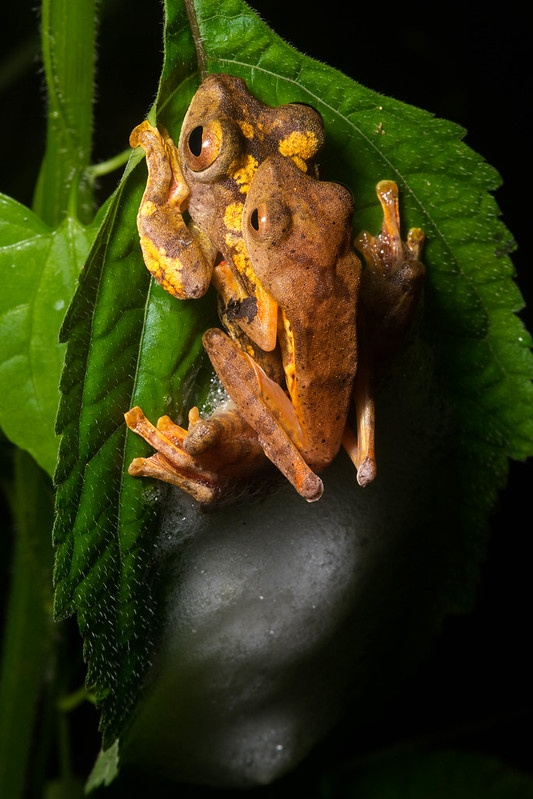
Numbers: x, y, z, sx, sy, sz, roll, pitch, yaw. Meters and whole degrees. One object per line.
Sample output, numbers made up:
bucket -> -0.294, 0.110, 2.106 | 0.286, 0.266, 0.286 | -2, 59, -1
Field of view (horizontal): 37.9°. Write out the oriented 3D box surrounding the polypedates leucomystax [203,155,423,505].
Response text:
polypedates leucomystax -> 0.033, -0.106, 1.078 | 0.344, 0.149, 0.407 | -12, 104, -33

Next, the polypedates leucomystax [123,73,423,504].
polypedates leucomystax -> -0.079, -0.139, 1.112 | 0.529, 0.181, 0.495 | -21, 104, -30
